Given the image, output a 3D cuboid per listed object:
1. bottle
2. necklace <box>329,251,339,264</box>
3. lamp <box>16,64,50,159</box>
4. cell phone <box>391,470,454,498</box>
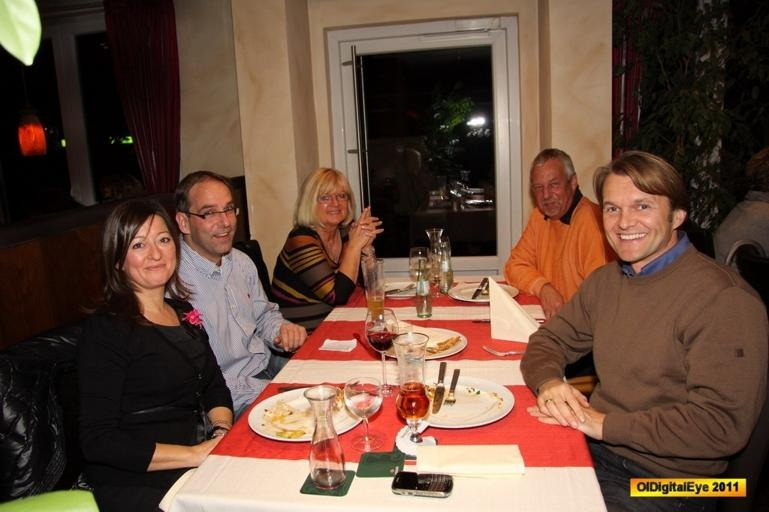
[{"bbox_3d":[-0.191,0.561,1.663,0.113,0.262,0.192,-6,15,-6],"label":"bottle"},{"bbox_3d":[-0.331,0.012,3.480,0.015,0.058,0.062,-37,4,6],"label":"necklace"},{"bbox_3d":[-3.702,-1.485,5.448,0.275,0.907,0.541,-13,17,-31],"label":"lamp"},{"bbox_3d":[0.114,0.689,1.608,0.127,0.026,0.078,-1,15,10],"label":"cell phone"}]
